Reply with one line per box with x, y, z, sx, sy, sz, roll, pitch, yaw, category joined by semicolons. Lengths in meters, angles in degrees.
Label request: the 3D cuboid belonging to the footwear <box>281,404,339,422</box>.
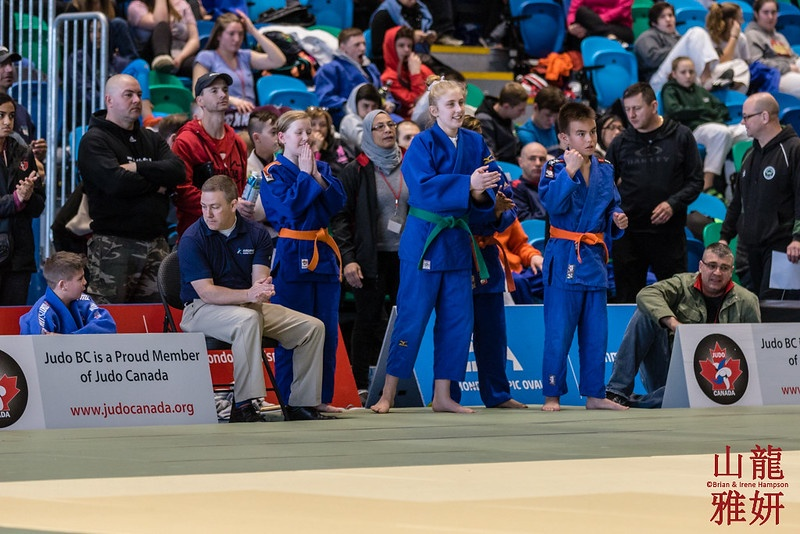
-0.594;1.025;7.934;0.426;0.158;0.129;0;-5;-1;footwear

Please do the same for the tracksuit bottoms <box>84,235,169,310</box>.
-2.013;0.024;8.710;0.580;0.529;0.322;1;3;-36;tracksuit bottoms

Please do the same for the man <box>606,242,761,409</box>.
2.336;0.494;8.896;1.256;1.400;0.963;10;-2;11;man

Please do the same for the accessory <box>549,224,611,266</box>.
1.249;-0.205;8.278;0.320;0.182;0.242;-6;-10;-16;accessory

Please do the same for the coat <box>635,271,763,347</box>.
2.269;0.436;8.756;0.765;0.441;0.429;9;-15;3;coat

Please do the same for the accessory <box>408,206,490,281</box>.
0.340;-0.174;8.211;0.572;0.445;0.080;1;-7;-2;accessory

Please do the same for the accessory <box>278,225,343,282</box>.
-0.610;-0.124;8.237;0.417;0.304;0.316;-3;-7;15;accessory

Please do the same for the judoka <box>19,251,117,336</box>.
-2.317;0.180;7.960;0.714;0.649;0.523;-2;3;-5;judoka

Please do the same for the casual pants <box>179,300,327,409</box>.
-1.082;0.420;8.148;0.678;1.024;1.108;-5;9;-41;casual pants

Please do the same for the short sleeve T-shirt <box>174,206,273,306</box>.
-1.227;-0.133;8.254;0.968;0.763;0.566;-4;0;-29;short sleeve T-shirt

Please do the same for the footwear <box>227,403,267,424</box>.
-1.046;1.011;7.810;0.307;0.197;0.101;-3;-4;-1;footwear

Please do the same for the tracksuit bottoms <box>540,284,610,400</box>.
1.293;0.548;8.334;0.476;0.835;0.225;-1;-4;1;tracksuit bottoms

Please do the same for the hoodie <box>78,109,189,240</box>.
-1.979;-0.717;8.514;0.778;0.995;0.401;0;-4;-13;hoodie
